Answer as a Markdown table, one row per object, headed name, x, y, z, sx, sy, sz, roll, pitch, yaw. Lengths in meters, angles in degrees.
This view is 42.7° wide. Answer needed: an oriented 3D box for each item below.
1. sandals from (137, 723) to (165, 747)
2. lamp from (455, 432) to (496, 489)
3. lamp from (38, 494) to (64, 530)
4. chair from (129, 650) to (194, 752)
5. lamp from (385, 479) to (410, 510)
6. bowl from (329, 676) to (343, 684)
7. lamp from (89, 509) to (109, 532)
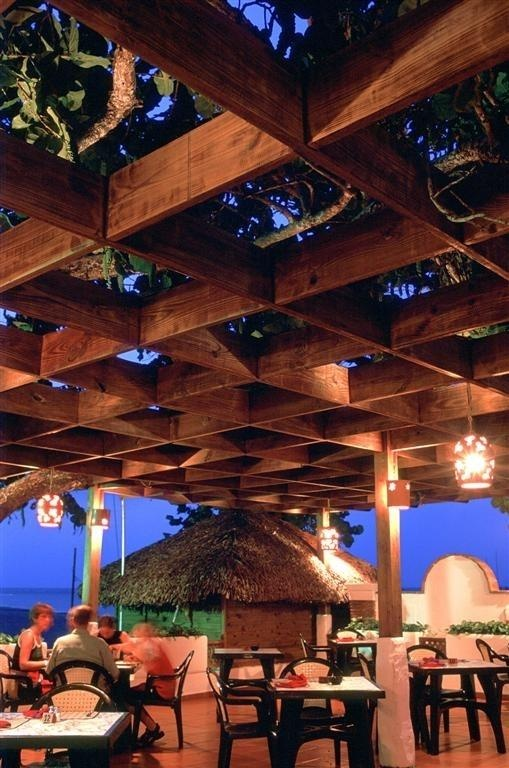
| name | x | y | z | sx | sy | sz | roll | pitch | yaw |
| --- | --- | --- | --- | --- | --- | --- | --- | --- | --- |
| sandals | -1.093 | 3.870 | 7.165 | 0.149 | 0.170 | 0.406 | -18 | -25 | 24 |
| lamp | 2.063 | 0.708 | 6.100 | 0.347 | 0.479 | 0.325 | -5 | -15 | 15 |
| lamp | -2.878 | 1.753 | 9.093 | 0.336 | 0.429 | 0.350 | 4 | -15 | -19 |
| chair | -1.107 | 3.791 | 8.040 | 0.649 | 1.117 | 2.314 | 0 | -14 | -5 |
| lamp | 1.706 | 1.312 | 7.797 | 0.343 | 0.338 | 0.327 | 6 | -17 | -18 |
| bowl | 0.680 | 2.471 | 5.430 | 0.099 | 0.055 | 0.094 | -1 | -10 | 0 |
| lamp | -2.593 | 2.258 | 10.847 | 0.347 | 0.314 | 0.349 | -13 | -19 | 37 |
